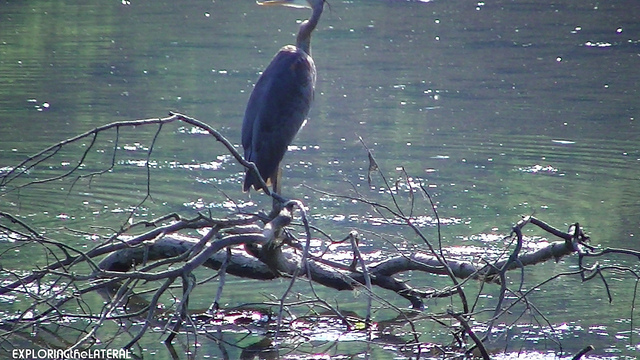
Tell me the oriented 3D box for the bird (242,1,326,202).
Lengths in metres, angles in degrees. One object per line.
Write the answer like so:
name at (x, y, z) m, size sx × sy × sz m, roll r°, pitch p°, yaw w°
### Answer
bird at (-0.604, -1.344, 17.501) m, size 1.192 × 3.200 × 0.670 m, roll 3°, pitch -6°, yaw -3°
